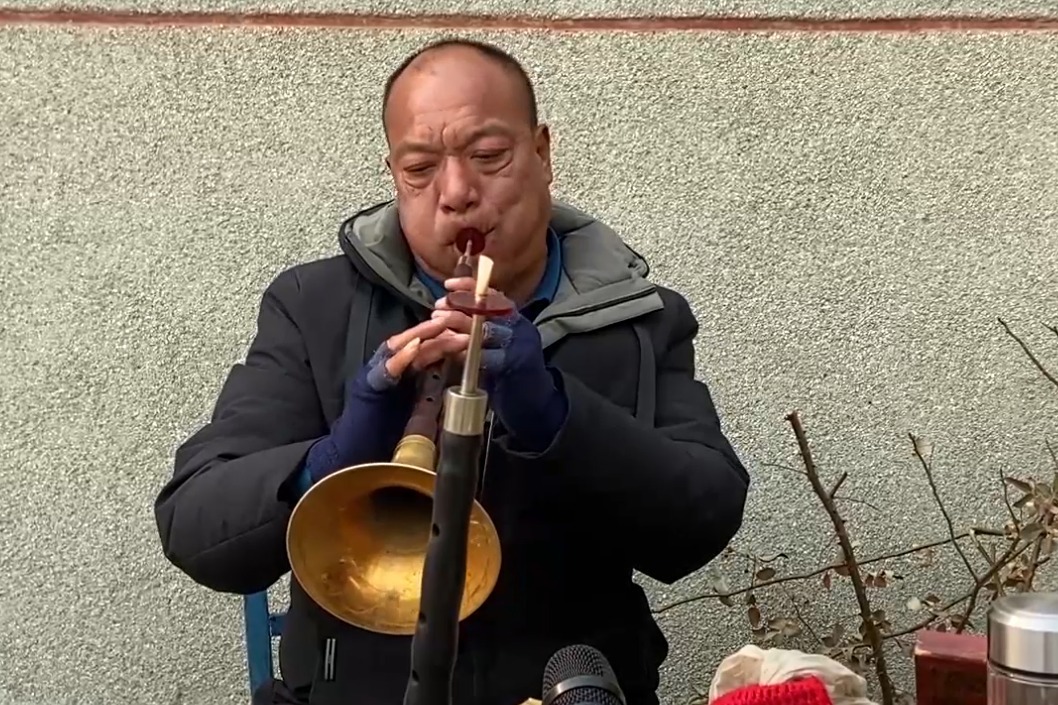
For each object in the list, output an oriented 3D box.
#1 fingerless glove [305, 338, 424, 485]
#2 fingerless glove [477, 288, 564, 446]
[{"bbox_3d":[-0.463,0.134,3.435,0.205,0.255,0.433,23,32,-6],"label":"fingerless glove"},{"bbox_3d":[0.014,0.057,3.309,0.136,0.348,0.268,-23,31,-30],"label":"fingerless glove"}]
